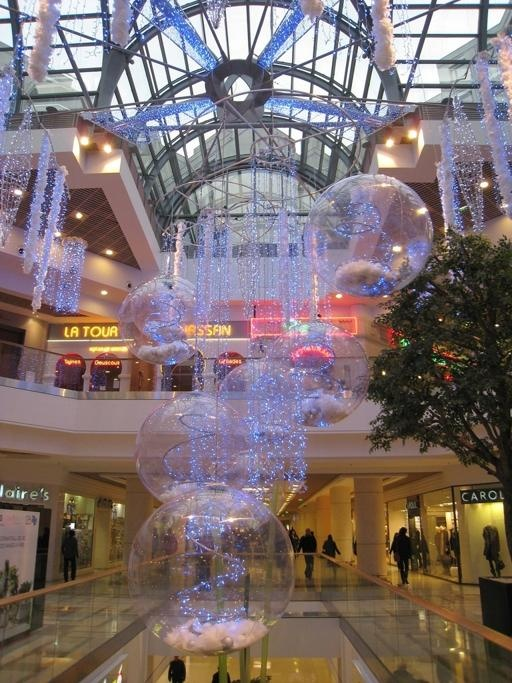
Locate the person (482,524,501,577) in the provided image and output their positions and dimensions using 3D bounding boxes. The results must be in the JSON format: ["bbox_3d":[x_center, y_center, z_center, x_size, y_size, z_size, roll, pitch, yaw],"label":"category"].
[{"bbox_3d":[6.268,5.542,13.026,0.263,1.206,0.569,3,-17,-20],"label":"person"}]

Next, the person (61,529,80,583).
[{"bbox_3d":[-5.205,5.979,13.594,0.408,1.223,2.038,3,-17,-21],"label":"person"}]

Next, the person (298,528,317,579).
[{"bbox_3d":[1.558,6.197,14.552,0.539,1.560,0.476,-5,12,1],"label":"person"}]
